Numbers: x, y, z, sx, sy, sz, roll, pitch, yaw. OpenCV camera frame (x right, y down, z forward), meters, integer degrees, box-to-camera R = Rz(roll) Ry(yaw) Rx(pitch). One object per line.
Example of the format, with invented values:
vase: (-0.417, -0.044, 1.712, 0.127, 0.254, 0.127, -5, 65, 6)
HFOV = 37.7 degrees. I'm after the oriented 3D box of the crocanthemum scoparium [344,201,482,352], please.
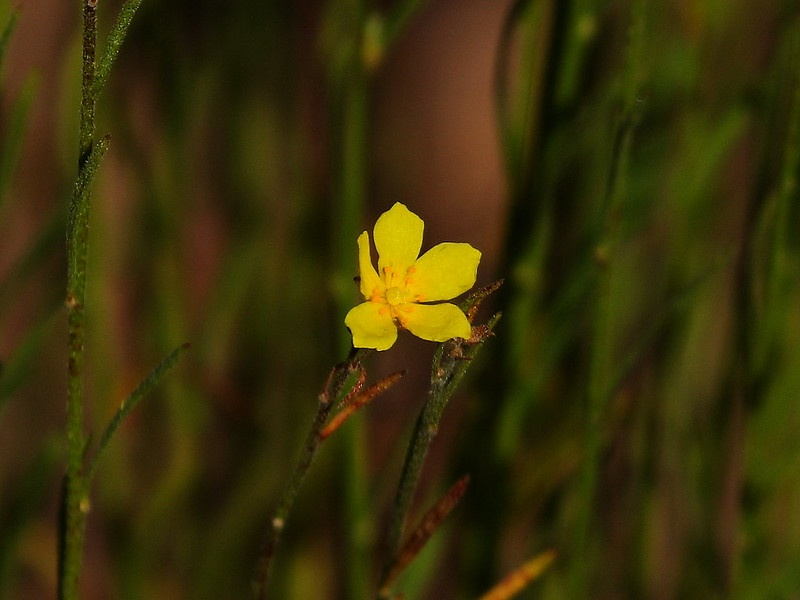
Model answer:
crocanthemum scoparium: (0.010, -0.015, 1.134, 0.107, 0.160, 0.050, 1, -17, -22)
